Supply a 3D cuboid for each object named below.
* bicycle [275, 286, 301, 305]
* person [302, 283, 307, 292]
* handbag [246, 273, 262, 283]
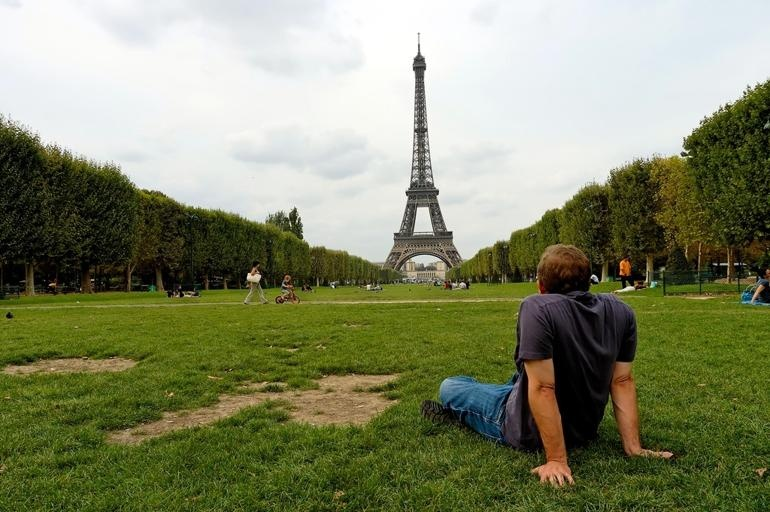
[{"bbox_3d":[-5.125,2.134,32.072,1.662,1.078,0.945,-2,2,6],"label":"bicycle"},{"bbox_3d":[-7.057,2.819,55.039,0.679,0.723,1.121,-1,-6,-3],"label":"person"},{"bbox_3d":[-5.977,1.031,28.500,0.466,0.347,0.478,1,1,30],"label":"handbag"}]
